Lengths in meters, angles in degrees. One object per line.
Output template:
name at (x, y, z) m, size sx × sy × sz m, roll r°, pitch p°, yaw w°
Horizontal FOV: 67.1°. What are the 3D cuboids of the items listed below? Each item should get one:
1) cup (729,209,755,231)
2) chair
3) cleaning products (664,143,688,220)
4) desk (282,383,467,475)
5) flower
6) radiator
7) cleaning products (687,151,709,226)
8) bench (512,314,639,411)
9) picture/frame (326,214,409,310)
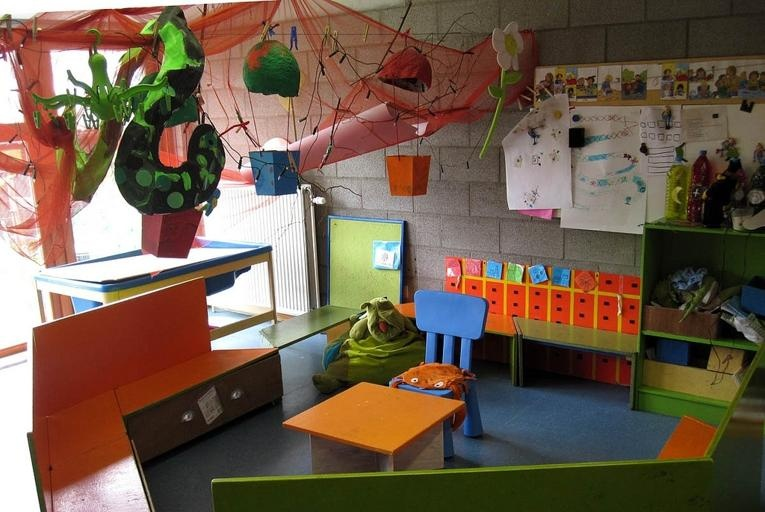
cup at (2.378, -0.246, 3.834) m, size 0.134 × 0.108 × 0.129 m, roll -8°, pitch 12°, yaw 2°
chair at (0.365, 0.809, 4.192) m, size 0.623 × 0.998 × 0.667 m, roll 10°, pitch 14°, yaw 42°
cleaning products at (2.131, -0.534, 4.145) m, size 0.147 × 0.536 × 0.257 m, roll 5°, pitch 16°, yaw 19°
desk at (-0.035, 0.965, 3.238) m, size 0.636 × 0.317 × 0.640 m, roll 8°, pitch 17°, yaw 37°
flower at (0.834, -1.132, 3.999) m, size 0.276 × 0.897 × 1.077 m, roll 2°, pitch 14°, yaw 10°
radiator at (-1.165, -0.110, 5.790) m, size 1.466 × 1.599 × 0.163 m, roll -2°, pitch 2°, yaw 23°
cleaning products at (2.239, -0.490, 4.066) m, size 0.133 × 0.477 × 0.271 m, roll 7°, pitch 17°, yaw 27°
bench at (1.535, 0.786, 4.680) m, size 1.049 × 0.566 × 0.407 m, roll 7°, pitch 16°, yaw 26°
picture/frame at (-0.107, 0.038, 5.607) m, size 0.921 × 1.057 × 0.076 m, roll 4°, pitch 6°, yaw 24°
